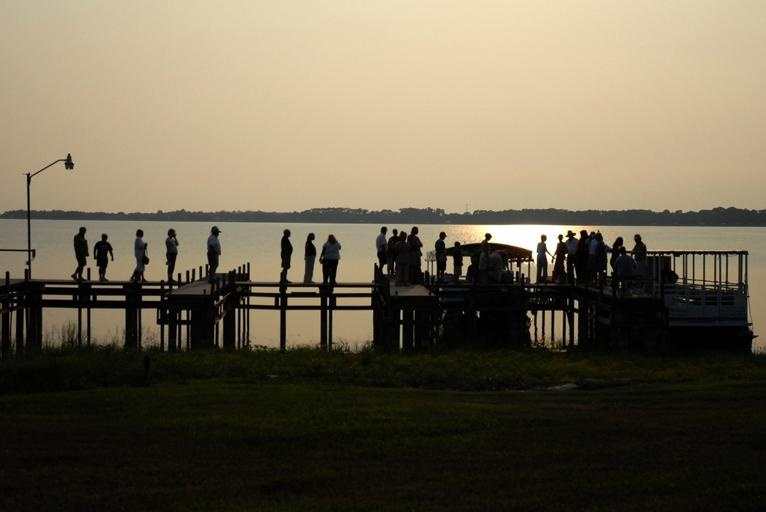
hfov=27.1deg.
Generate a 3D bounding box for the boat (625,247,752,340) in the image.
[{"bbox_3d":[16.813,1.409,83.003,4.115,3.590,42.675,1,1,12],"label":"boat"}]
